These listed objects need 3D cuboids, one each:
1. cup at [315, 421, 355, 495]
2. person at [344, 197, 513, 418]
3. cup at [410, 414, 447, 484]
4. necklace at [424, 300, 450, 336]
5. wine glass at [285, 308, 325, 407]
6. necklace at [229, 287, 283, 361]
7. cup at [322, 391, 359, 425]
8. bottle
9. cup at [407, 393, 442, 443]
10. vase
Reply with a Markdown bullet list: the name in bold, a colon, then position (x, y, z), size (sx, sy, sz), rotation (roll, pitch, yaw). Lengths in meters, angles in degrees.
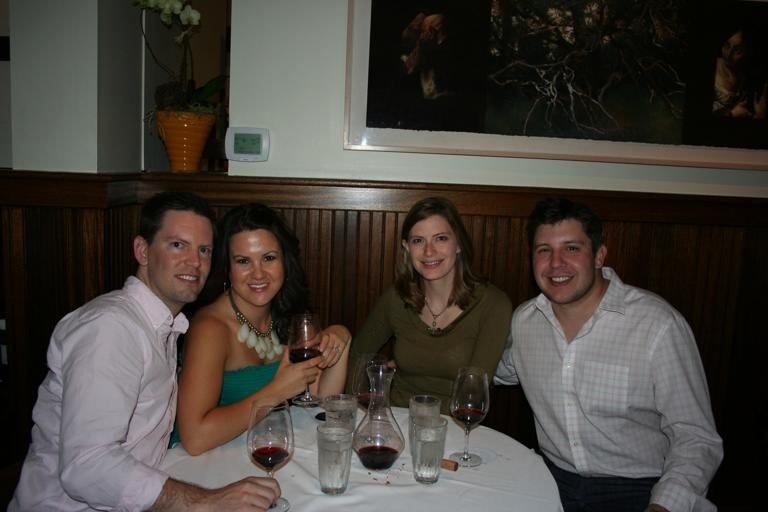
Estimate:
- **cup**: position (-0.207, 0.839, 2.393), size (0.134, 0.270, 0.092), rotation (-1, 5, -9)
- **person**: position (0.219, 0.396, 3.391), size (0.972, 1.457, 0.815), rotation (7, 12, 20)
- **cup**: position (0.186, 0.817, 2.479), size (0.149, 0.277, 0.113), rotation (0, 5, 1)
- **necklace**: position (0.310, 0.367, 3.433), size (0.203, 0.033, 0.263), rotation (4, 48, 12)
- **wine glass**: position (-0.400, 0.533, 2.935), size (0.165, 0.515, 0.364), rotation (0, 5, -6)
- **necklace**: position (-0.747, 0.414, 3.170), size (0.354, 0.149, 0.304), rotation (48, 13, 21)
- **cup**: position (-0.203, 0.691, 2.661), size (0.119, 0.145, 0.140), rotation (1, -6, 1)
- **bottle**: position (-0.036, 0.733, 2.610), size (0.253, 0.475, 0.266), rotation (0, -11, 0)
- **cup**: position (0.169, 0.694, 2.557), size (0.161, 0.202, 0.170), rotation (0, 7, 0)
- **vase**: position (-1.371, -0.780, 4.060), size (0.366, 0.415, 0.402), rotation (4, 1, 35)
